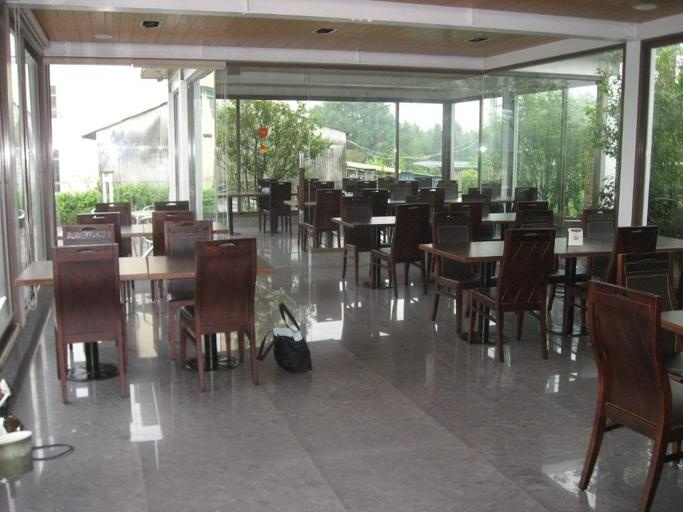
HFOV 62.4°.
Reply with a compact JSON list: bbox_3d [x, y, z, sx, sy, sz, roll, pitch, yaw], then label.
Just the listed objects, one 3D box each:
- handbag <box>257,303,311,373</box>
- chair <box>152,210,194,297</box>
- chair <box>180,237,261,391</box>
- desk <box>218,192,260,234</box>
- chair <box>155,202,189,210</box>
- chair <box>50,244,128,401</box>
[{"bbox_3d":[-0.432,0.768,5.247,0.422,0.676,0.647,-2,1,-44],"label":"handbag"},{"bbox_3d":[-2.146,-0.175,6.786,0.607,1.235,0.648,-3,14,-23],"label":"chair"},{"bbox_3d":[-1.023,0.425,4.736,0.650,1.219,0.631,-3,13,-14],"label":"chair"},{"bbox_3d":[-1.874,-0.814,10.350,0.776,0.787,0.797,-1,23,-9],"label":"desk"},{"bbox_3d":[-2.427,-0.714,8.036,0.460,0.118,0.144,-6,13,-25],"label":"chair"},{"bbox_3d":[-2.005,0.513,4.499,0.571,1.215,0.521,-3,2,-19],"label":"chair"}]
